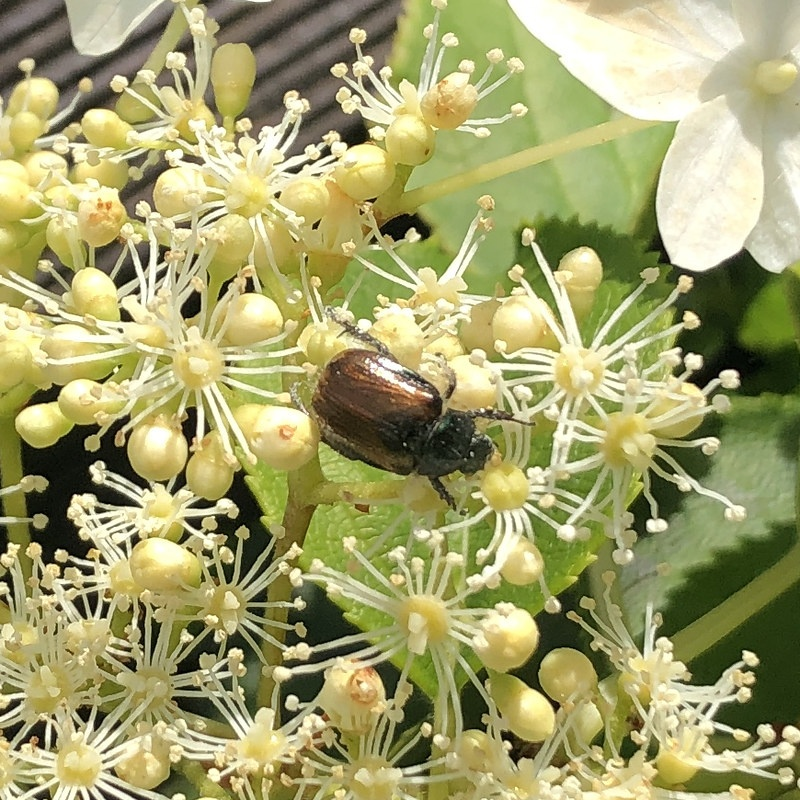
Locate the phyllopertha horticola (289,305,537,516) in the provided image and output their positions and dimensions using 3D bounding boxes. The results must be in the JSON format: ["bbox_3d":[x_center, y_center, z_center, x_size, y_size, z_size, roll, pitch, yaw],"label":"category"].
[{"bbox_3d":[0.024,-0.003,1.503,0.275,0.179,0.085,29,33,-4],"label":"phyllopertha horticola"}]
